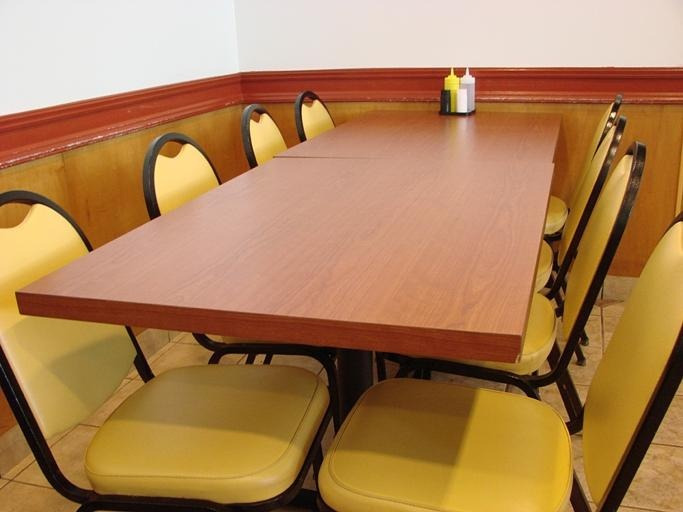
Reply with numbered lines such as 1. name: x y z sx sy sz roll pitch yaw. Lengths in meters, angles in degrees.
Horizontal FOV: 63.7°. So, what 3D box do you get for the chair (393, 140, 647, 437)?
1. chair: 0.515 0.092 1.770 0.587 1.018 0.559 9 29 15
